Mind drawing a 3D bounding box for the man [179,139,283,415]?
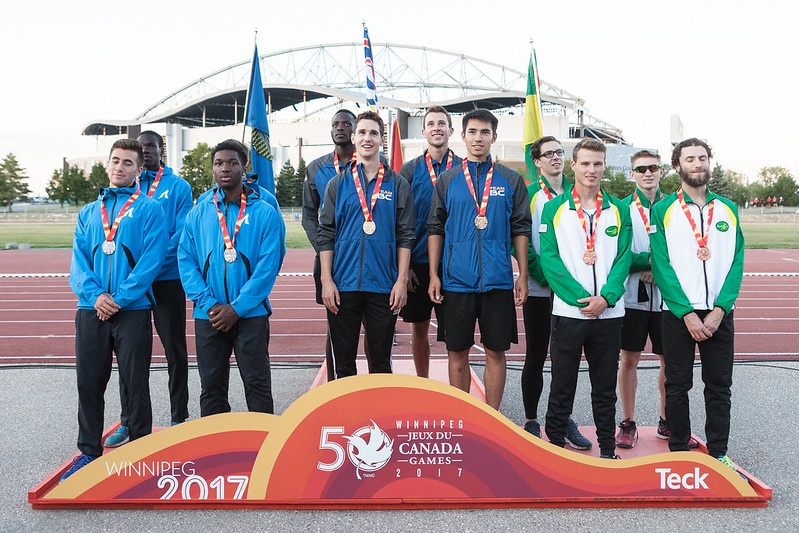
[{"bbox_3d":[-1.387,0.082,5.678,0.851,2.208,0.526,-4,9,-9],"label":"man"}]

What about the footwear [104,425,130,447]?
[{"bbox_3d":[-2.449,1.503,6.074,0.134,0.157,0.348,-2,-7,12],"label":"footwear"}]

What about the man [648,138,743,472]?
[{"bbox_3d":[2.420,0.425,5.663,0.703,2.168,0.640,1,9,22],"label":"man"}]

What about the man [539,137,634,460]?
[{"bbox_3d":[1.532,0.265,5.722,0.732,2.628,0.716,0,9,16],"label":"man"}]

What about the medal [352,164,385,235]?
[{"bbox_3d":[-0.258,-0.602,5.981,0.285,0.619,0.224,-3,9,-4],"label":"medal"}]

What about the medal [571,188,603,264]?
[{"bbox_3d":[1.578,-0.336,5.686,0.210,0.606,0.027,0,-11,1],"label":"medal"}]

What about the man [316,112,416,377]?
[{"bbox_3d":[-0.278,-0.189,5.988,0.853,2.297,0.484,-4,9,-7],"label":"man"}]

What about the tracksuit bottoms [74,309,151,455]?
[{"bbox_3d":[-2.347,0.921,5.683,0.638,1.174,0.391,-6,9,-21],"label":"tracksuit bottoms"}]

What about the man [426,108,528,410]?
[{"bbox_3d":[0.702,0.028,6.000,0.914,2.800,0.671,-2,9,4],"label":"man"}]
